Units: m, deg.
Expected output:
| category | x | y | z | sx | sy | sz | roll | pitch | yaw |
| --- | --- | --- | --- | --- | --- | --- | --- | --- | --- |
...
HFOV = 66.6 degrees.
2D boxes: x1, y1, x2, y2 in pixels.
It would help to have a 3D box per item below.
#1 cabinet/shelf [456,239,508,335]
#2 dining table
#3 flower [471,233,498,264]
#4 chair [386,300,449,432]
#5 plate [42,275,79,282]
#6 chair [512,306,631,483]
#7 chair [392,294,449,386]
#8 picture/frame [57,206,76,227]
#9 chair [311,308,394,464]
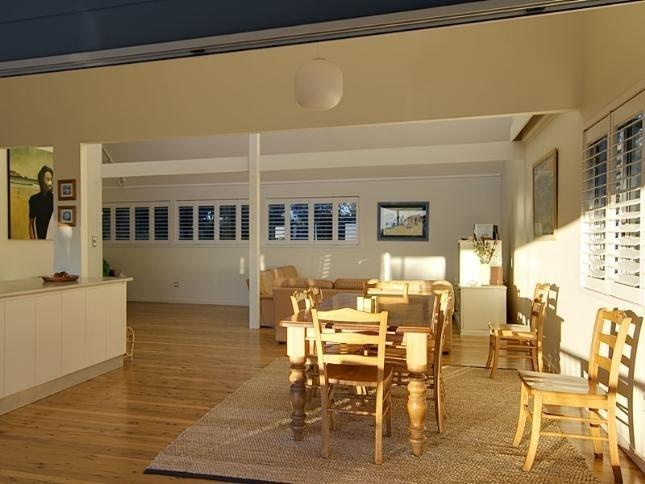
| category | x | y | z | sx | sy | sz | roll | pitch | yaw |
| --- | --- | --- | --- | --- | --- | --- | --- | --- | --- |
| cabinet/shelf | 2.342 | 0.684 | 7.239 | 0.442 | 1.275 | 1.271 | 0 | -2 | 14 |
| dining table | 0.364 | 0.829 | 4.525 | 1.202 | 1.167 | 1.864 | 1 | 21 | 7 |
| flower | 2.478 | 0.101 | 7.469 | 0.357 | 0.475 | 0.376 | 0 | -6 | 14 |
| chair | 0.786 | 1.027 | 4.188 | 0.561 | 0.924 | 0.587 | 2 | -7 | 30 |
| plate | -2.726 | 0.380 | 5.060 | 0.329 | 0.061 | 0.245 | -1 | 3 | -19 |
| chair | 1.953 | 1.067 | 3.938 | 0.941 | 1.643 | 0.966 | 1 | -3 | 13 |
| chair | 0.848 | 0.740 | 4.114 | 0.314 | 0.530 | 0.316 | 17 | -7 | -2 |
| picture/frame | -3.363 | -0.334 | 6.451 | 0.294 | 0.273 | 0.035 | 1 | 3 | 17 |
| chair | 0.250 | 0.983 | 3.937 | 0.604 | 1.056 | 1.139 | 0 | 3 | 8 |
